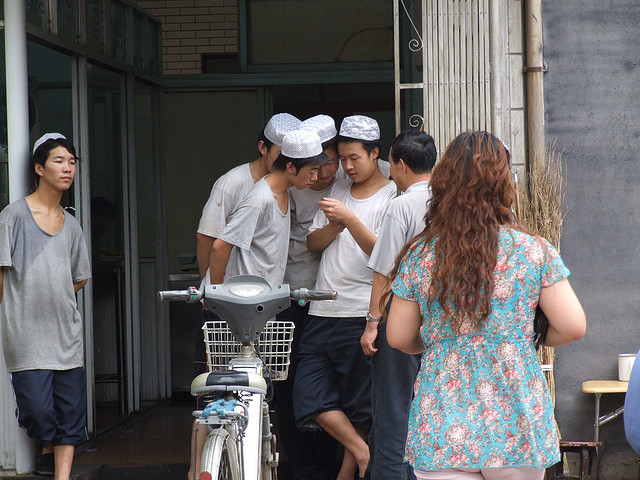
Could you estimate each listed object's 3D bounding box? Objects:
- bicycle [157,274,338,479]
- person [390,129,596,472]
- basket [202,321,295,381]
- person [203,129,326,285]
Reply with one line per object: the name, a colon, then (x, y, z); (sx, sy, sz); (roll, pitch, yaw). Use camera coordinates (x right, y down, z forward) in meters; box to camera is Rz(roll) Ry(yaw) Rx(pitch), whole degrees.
bicycle: (-0.283, 0.701, 6.464); (0.679, 0.968, 1.444); (-1, 1, 8)
person: (0.799, 0.301, 5.689); (0.913, 1.688, 0.255); (-2, -2, 0)
basket: (-0.433, 0.595, 6.704); (0.453, 0.336, 0.262); (3, 5, 13)
person: (-0.326, -0.199, 7.084); (0.731, 0.928, 0.312); (-2, -2, -5)
